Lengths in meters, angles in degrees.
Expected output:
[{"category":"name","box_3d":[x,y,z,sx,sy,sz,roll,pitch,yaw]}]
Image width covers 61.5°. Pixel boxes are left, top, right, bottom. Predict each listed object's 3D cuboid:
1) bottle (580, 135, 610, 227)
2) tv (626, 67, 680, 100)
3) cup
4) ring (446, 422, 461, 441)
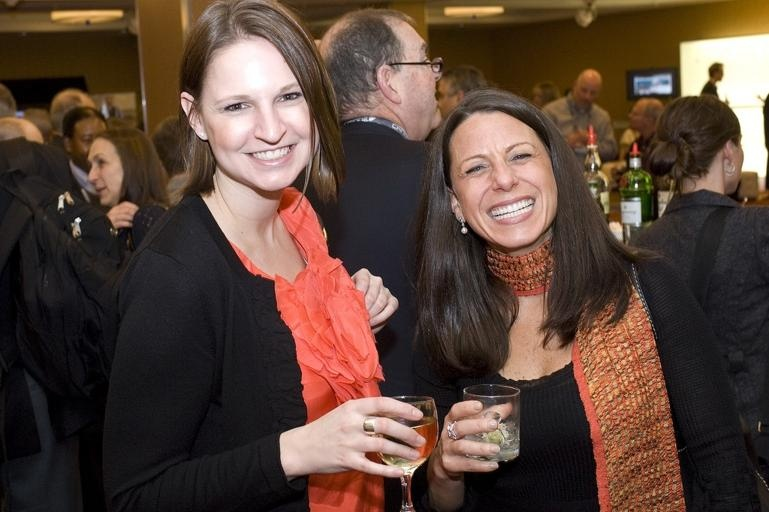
[{"category":"bottle","box_3d":[1.357,-0.434,4.190,0.189,0.687,0.201,-5,10,1]},{"category":"tv","box_3d":[2.084,-1.275,5.035,0.226,0.286,0.401,-34,31,-26]},{"category":"cup","box_3d":[0.374,0.515,2.135,0.214,0.255,0.207,-2,-2,0]},{"category":"ring","box_3d":[0.221,0.556,2.069,0.019,0.058,0.043,-2,29,-11]}]
